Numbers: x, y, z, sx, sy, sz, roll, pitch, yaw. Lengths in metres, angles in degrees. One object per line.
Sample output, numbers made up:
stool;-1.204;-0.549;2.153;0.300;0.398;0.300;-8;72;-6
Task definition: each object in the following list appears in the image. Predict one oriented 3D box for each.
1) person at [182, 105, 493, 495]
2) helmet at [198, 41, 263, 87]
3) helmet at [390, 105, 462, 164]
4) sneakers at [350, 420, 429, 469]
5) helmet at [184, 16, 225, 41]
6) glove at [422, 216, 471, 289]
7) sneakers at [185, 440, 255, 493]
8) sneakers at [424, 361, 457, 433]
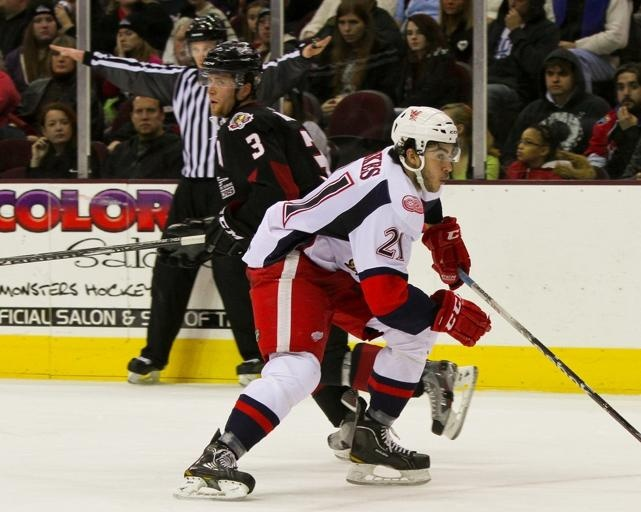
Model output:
person;0.067;0.157;4.169;1.265;1.506;0.614;-2;10;-10
helmet;-0.403;-0.908;4.837;0.287;0.209;0.218;8;-1;-16
helmet;0.422;-0.484;4.189;0.284;0.214;0.212;11;15;25
sneakers;0.304;0.784;4.219;0.388;0.182;0.120;-4;-7;35
helmet;-0.622;-1.238;5.654;0.200;0.149;0.151;-9;14;4
glove;0.547;-0.017;4.508;0.122;0.293;0.198;-18;18;42
sneakers;-0.371;0.820;3.952;0.332;0.217;0.112;-7;-26;44
sneakers;0.488;0.574;4.306;0.171;0.300;0.115;-2;6;0
